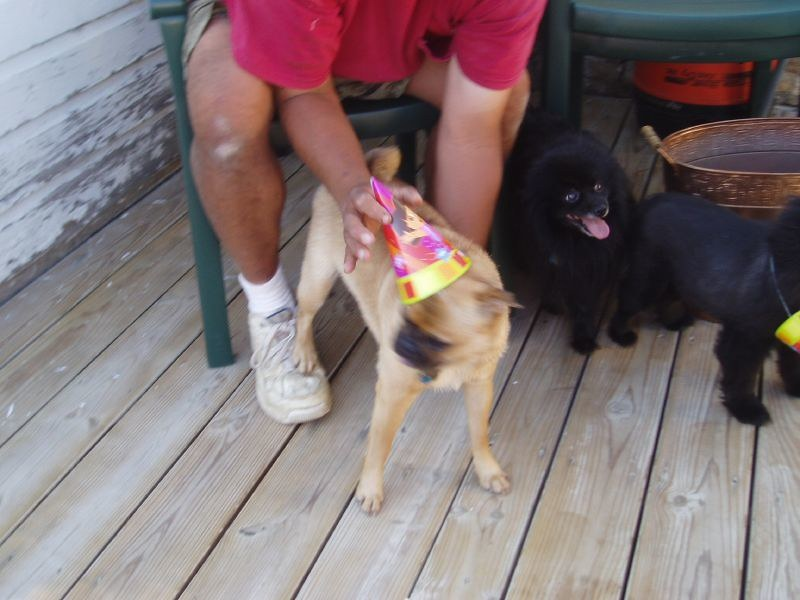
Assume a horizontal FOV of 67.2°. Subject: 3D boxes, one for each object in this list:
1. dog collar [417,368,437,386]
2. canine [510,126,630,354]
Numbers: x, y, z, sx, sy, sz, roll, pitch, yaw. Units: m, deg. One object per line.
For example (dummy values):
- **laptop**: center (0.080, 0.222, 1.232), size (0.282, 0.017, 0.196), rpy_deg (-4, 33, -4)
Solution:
- **dog collar**: center (0.064, 0.158, 1.250), size (0.025, 0.041, 0.042), rpy_deg (22, 70, -20)
- **canine**: center (0.630, -0.162, 2.045), size (0.360, 0.453, 0.719), rpy_deg (15, 16, 17)
